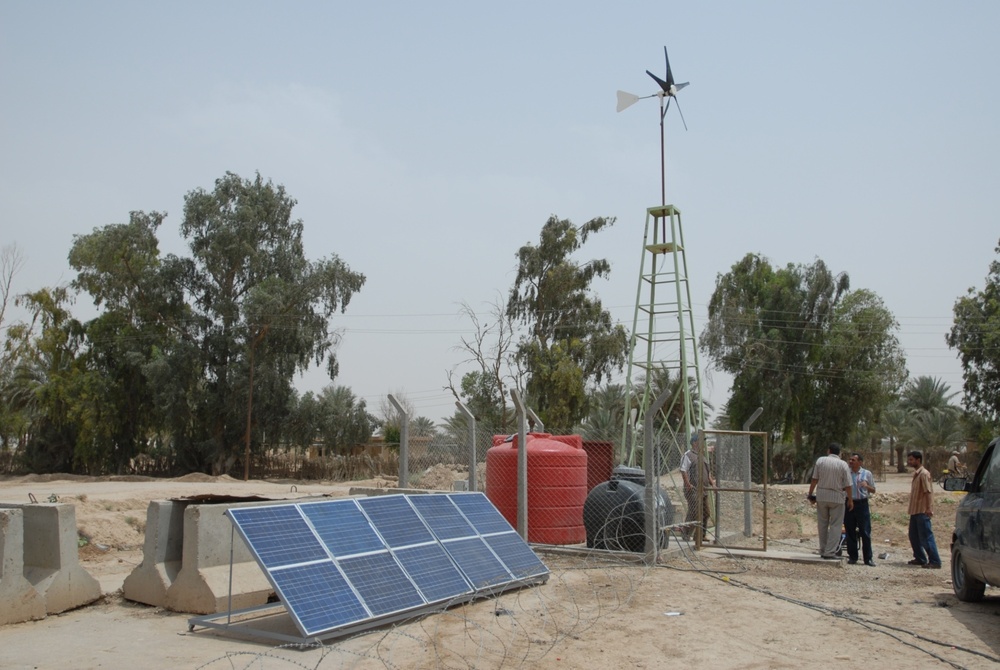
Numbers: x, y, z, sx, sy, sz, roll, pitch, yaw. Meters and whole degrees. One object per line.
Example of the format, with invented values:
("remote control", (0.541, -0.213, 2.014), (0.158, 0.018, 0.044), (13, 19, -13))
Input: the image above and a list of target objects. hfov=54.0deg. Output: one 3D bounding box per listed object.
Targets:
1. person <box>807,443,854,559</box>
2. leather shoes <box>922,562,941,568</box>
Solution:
("person", (8.279, 4.207, 24.642), (0.941, 2.904, 1.393), (2, 2, 31))
("leather shoes", (10.751, 5.761, 24.374), (0.355, 0.178, 0.145), (4, -6, 18))
